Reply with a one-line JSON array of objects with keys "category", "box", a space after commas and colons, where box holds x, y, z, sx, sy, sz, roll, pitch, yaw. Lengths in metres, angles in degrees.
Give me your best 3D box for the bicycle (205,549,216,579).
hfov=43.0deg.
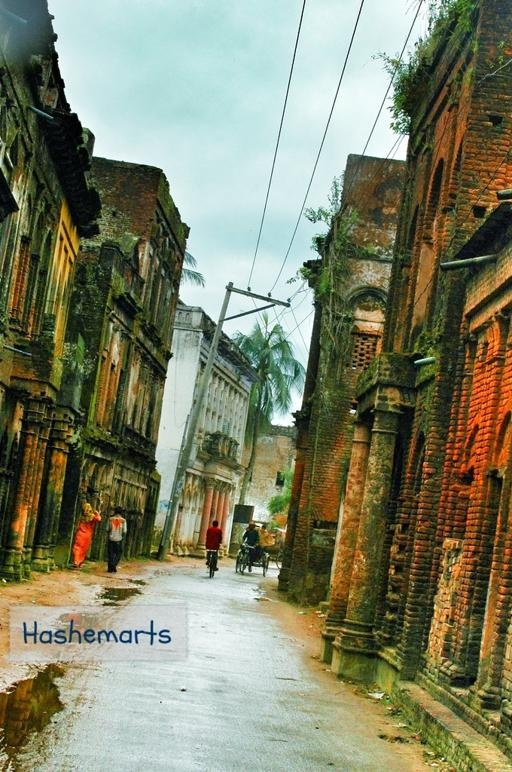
[{"category": "bicycle", "box": [-1.798, 7.161, 26.123, 0.486, 1.056, 0.975, 12, -13, 0]}]
